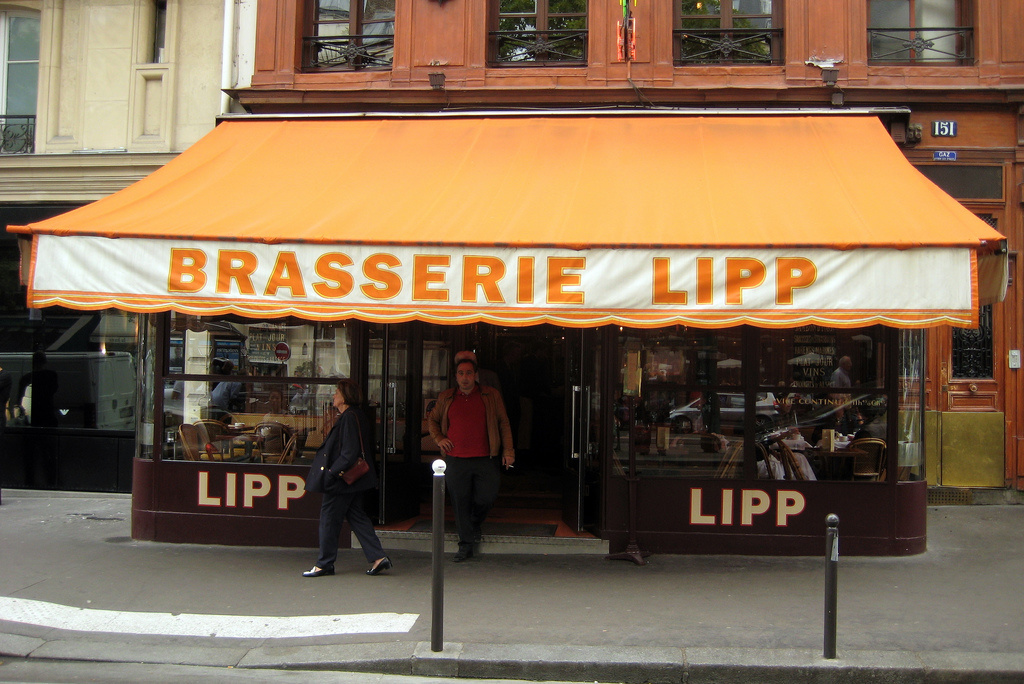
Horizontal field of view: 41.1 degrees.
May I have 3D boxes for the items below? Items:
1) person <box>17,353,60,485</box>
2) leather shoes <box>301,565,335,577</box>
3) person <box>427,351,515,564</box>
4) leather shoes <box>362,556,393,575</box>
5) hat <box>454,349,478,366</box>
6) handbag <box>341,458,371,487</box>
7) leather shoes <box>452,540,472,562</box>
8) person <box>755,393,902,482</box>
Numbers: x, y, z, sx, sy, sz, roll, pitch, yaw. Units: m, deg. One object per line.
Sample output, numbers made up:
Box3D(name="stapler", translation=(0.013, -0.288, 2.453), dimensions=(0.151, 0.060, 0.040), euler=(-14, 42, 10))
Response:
Box3D(name="person", translation=(-7.355, 1.176, 21.298), dimensions=(0.608, 1.980, 0.798), euler=(-5, 16, -18))
Box3D(name="leather shoes", translation=(-2.423, 2.842, 17.023), dimensions=(0.317, 0.118, 0.169), euler=(3, -4, -7))
Box3D(name="person", translation=(-0.482, 1.465, 17.859), dimensions=(1.008, 2.529, 1.031), euler=(-4, 15, -14))
Box3D(name="leather shoes", translation=(-1.672, 2.777, 17.044), dimensions=(0.159, 0.160, 0.404), euler=(-5, -3, -36))
Box3D(name="hat", translation=(-0.605, 0.193, 18.003), dimensions=(0.257, 0.221, 0.244), euler=(1, -5, -34))
Box3D(name="handbag", translation=(-1.940, 1.602, 16.976), dimensions=(0.355, 0.258, 0.111), euler=(-39, 21, -15))
Box3D(name="leather shoes", translation=(-0.597, 2.678, 17.694), dimensions=(0.317, 0.242, 0.198), euler=(-8, 17, -27))
Box3D(name="person", translation=(4.098, 1.325, 18.213), dimensions=(1.979, 1.291, 1.047), euler=(0, -5, 4))
